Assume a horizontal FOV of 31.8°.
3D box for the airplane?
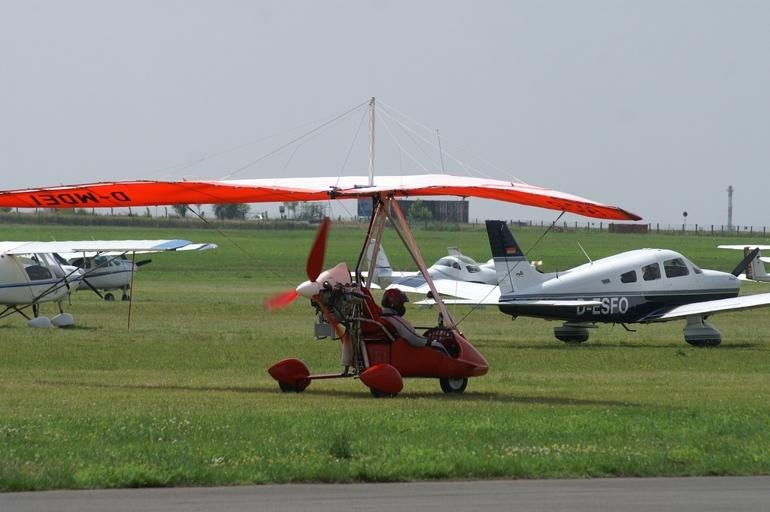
[{"bbox_3d":[-0.852,0.548,27.503,10.919,4.455,2.162,0,1,-5],"label":"airplane"}]
